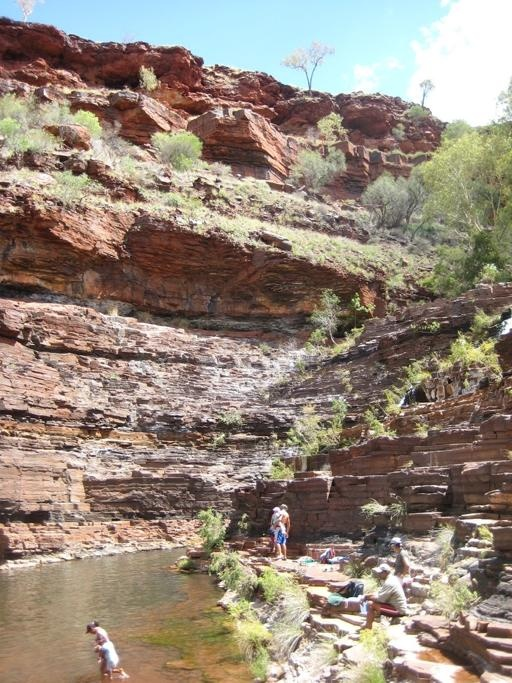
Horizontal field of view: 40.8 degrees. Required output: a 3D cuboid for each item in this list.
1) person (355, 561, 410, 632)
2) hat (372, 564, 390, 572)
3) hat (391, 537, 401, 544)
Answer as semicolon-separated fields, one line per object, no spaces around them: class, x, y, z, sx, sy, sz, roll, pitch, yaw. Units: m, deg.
person;1.616;2.931;7.857;0.761;0.863;0.434;1;-33;18
hat;1.408;2.617;7.988;0.268;0.081;0.154;-4;-17;12
hat;1.710;2.447;8.403;0.100;0.080;0.088;1;-7;6
